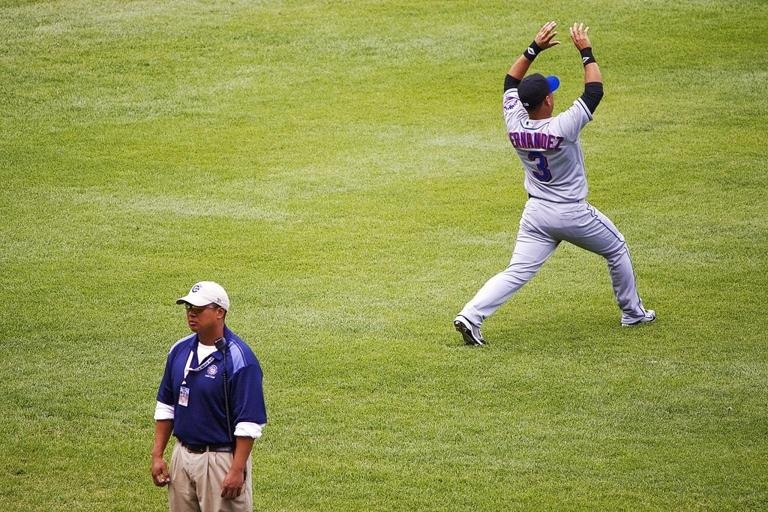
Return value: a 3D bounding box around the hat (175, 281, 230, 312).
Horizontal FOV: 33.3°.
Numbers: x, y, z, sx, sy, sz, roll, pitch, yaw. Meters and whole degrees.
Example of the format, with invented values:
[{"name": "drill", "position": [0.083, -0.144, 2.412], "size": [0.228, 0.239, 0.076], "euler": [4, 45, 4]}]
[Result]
[{"name": "hat", "position": [-1.850, 0.415, 13.257], "size": [0.444, 0.216, 0.304], "euler": [3, -3, -32]}]
